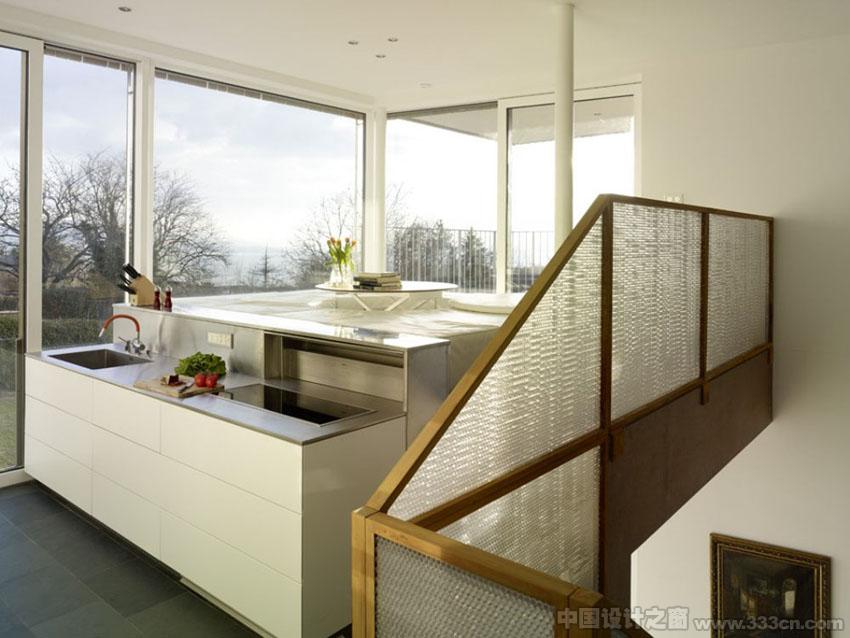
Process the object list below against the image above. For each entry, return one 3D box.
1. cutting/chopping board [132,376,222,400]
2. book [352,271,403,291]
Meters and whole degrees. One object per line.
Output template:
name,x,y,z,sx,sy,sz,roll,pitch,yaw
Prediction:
cutting/chopping board,-1.603,0.421,3.945,0.558,0.064,0.303,7,10,21
book,-0.403,-0.319,5.322,0.413,0.134,0.303,3,9,-6
